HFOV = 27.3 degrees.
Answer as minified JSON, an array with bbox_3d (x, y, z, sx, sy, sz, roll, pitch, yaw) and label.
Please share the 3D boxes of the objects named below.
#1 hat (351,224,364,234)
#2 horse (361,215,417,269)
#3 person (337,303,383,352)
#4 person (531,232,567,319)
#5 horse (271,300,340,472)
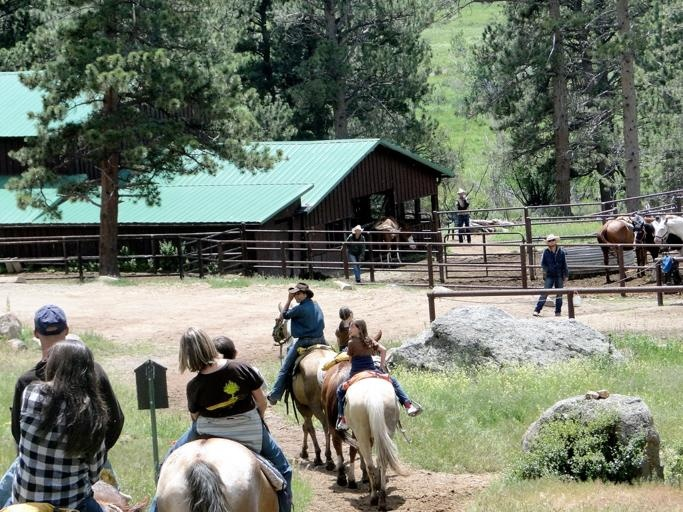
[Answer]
[{"bbox_3d":[0.611,-1.029,54.531,0.378,0.233,0.578,-5,17,-7],"label":"hat"},{"bbox_3d":[1.995,-0.686,57.440,0.903,1.931,3.184,-2,1,30],"label":"horse"},{"bbox_3d":[0.509,2.005,38.655,0.433,1.619,2.194,-5,21,-20],"label":"person"},{"bbox_3d":[6.674,0.545,44.191,0.935,2.732,0.882,4,9,15],"label":"person"},{"bbox_3d":[-1.037,3.543,36.516,2.970,4.819,1.341,-2,2,40],"label":"horse"}]
